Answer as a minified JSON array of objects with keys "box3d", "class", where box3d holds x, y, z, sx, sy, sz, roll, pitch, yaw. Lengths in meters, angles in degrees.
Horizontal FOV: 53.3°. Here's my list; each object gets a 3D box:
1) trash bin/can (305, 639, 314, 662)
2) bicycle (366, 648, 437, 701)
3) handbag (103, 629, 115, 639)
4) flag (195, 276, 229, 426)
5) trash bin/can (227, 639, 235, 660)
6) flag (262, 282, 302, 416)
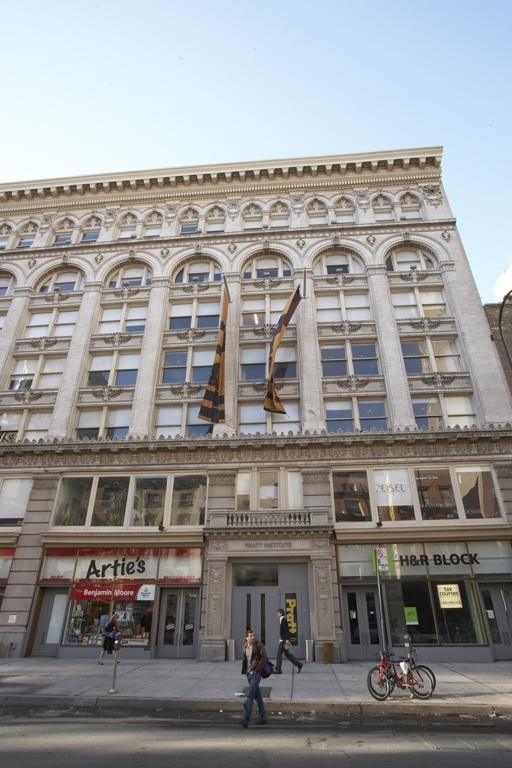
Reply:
[{"box3d":[1.860,9.171,17.668,0.326,0.704,0.912,-3,-29,4],"class":"trash bin/can"},{"box3d":[3.409,6.279,11.109,1.930,1.147,0.950,2,-31,-1],"class":"bicycle"},{"box3d":[-4.713,7.871,16.252,0.303,0.275,0.346,-3,-7,5],"class":"handbag"},{"box3d":[-1.827,-1.422,23.353,1.046,6.250,0.535,6,-2,-32],"class":"flag"},{"box3d":[-0.901,9.469,18.282,0.345,0.669,0.175,13,-32,-23],"class":"trash bin/can"},{"box3d":[1.250,-1.745,24.253,1.894,6.943,2.484,-1,-29,0],"class":"flag"}]
